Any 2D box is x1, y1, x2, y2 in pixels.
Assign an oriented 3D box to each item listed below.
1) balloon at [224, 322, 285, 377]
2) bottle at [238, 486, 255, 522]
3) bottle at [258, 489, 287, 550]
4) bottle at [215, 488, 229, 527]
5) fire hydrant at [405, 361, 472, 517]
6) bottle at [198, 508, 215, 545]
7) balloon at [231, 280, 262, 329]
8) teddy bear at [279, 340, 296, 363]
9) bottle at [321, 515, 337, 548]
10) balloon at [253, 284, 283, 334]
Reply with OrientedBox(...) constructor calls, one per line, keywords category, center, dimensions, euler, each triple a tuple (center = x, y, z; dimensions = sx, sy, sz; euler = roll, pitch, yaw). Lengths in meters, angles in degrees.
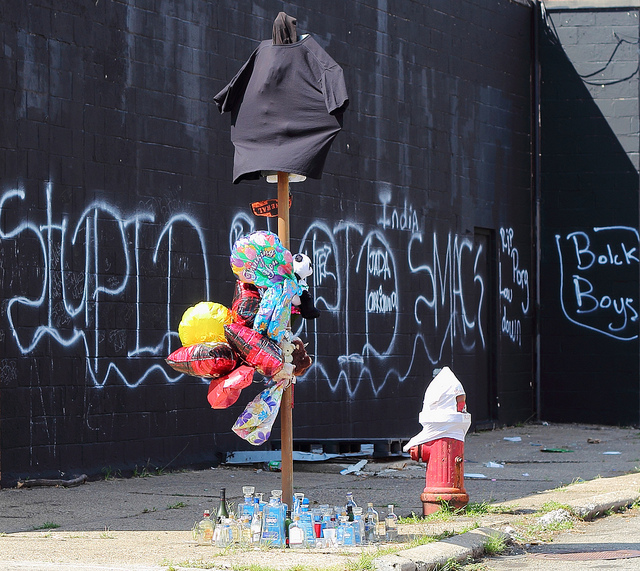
OrientedBox(category="balloon", center=(-0.539, 0.505, 10.237), dimensions=(0.436, 0.435, 0.486), euler=(1, 2, -21))
OrientedBox(category="bottle", center=(-0.608, 1.794, 10.203), dimensions=(0.137, 0.276, 0.466), euler=(-2, -8, -4))
OrientedBox(category="bottle", center=(-0.386, 1.901, 10.071), dimensions=(0.244, 0.462, 0.259), euler=(-3, -7, 0))
OrientedBox(category="bottle", center=(-0.818, 1.836, 10.307), dimensions=(0.116, 0.299, 0.367), euler=(-2, -8, -5))
OrientedBox(category="fire hydrant", center=(1.099, 1.437, 11.524), dimensions=(0.567, 1.366, 0.436), euler=(-3, -6, 4))
OrientedBox(category="bottle", center=(-0.940, 2.010, 10.327), dimensions=(0.129, 0.259, 0.335), euler=(-2, -8, -6))
OrientedBox(category="balloon", center=(-0.599, 0.088, 10.390), dimensions=(0.308, 0.400, 0.138), euler=(-3, -33, 4))
OrientedBox(category="teddy bear", center=(-0.256, 0.525, 10.398), dimensions=(0.111, 0.187, 0.172), euler=(0, 31, 14))
OrientedBox(category="bottle", center=(0.068, 1.996, 10.122), dimensions=(0.124, 0.252, 0.086), euler=(-2, -6, -1))
OrientedBox(category="balloon", center=(-0.435, 0.164, 10.247), dimensions=(0.222, 0.395, 0.096), euler=(28, -7, -41))
